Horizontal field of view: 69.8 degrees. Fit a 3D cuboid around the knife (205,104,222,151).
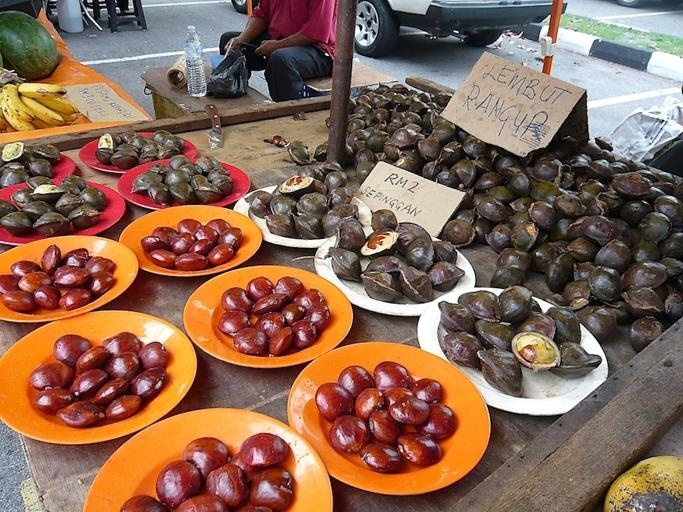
[{"bbox_3d":[-0.672,-0.706,2.720,0.099,0.109,0.321,-1,47,-7],"label":"knife"}]
